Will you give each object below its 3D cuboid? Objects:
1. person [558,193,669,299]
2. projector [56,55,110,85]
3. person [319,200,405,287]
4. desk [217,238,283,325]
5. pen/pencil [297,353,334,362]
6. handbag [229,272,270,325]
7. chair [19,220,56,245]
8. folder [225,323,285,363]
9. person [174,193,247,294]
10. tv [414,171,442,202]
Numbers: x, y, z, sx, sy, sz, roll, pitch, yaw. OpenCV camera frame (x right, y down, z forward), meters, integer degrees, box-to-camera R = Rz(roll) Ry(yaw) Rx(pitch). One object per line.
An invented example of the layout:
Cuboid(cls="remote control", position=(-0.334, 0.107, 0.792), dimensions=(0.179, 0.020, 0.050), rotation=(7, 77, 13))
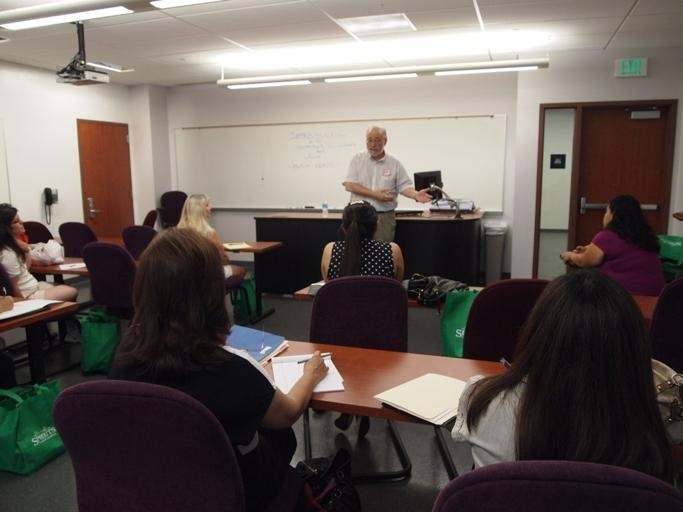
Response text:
Cuboid(cls="person", position=(1.785, 0.069, 3.278), dimensions=(0.408, 0.904, 0.571), rotation=(-8, 8, -40))
Cuboid(cls="projector", position=(-2.324, -1.686, 4.370), dimensions=(0.364, 0.299, 0.599), rotation=(-5, 11, -33))
Cuboid(cls="person", position=(0.124, -0.082, 3.105), dimensions=(0.410, 0.834, 0.538), rotation=(2, 25, 7))
Cuboid(cls="desk", position=(-0.960, 0.237, 5.206), dimensions=(0.758, 0.751, 0.751), rotation=(-4, 5, -39))
Cuboid(cls="pen/pencil", position=(-0.098, 0.406, 1.955), dimensions=(0.122, 0.017, 0.017), rotation=(-14, 32, -31))
Cuboid(cls="handbag", position=(-0.926, 0.435, 4.902), dimensions=(0.232, 0.401, 0.397), rotation=(-7, 8, 32))
Cuboid(cls="chair", position=(-3.415, -0.282, 5.526), dimensions=(0.299, 0.382, 0.279), rotation=(5, 4, 32))
Cuboid(cls="folder", position=(-0.376, 0.372, 2.104), dimensions=(0.188, 0.053, 0.195), rotation=(15, 21, 28))
Cuboid(cls="person", position=(-1.192, -0.101, 4.375), dimensions=(0.532, 0.816, 0.601), rotation=(-3, 0, 40))
Cuboid(cls="tv", position=(0.899, -0.720, 5.084), dimensions=(0.350, 0.386, 0.198), rotation=(0, 7, 1))
